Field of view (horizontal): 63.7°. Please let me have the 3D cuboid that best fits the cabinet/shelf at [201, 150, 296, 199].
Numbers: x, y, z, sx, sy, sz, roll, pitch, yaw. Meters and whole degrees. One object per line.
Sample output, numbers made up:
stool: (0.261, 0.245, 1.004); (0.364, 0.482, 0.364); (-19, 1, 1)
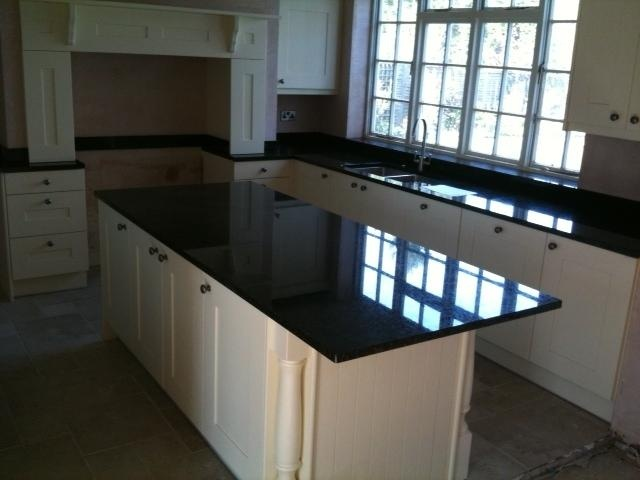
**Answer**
cabinet/shelf: (-0.702, -0.847, 5.122); (0.698, 0.688, 0.489); (-9, 22, -30)
